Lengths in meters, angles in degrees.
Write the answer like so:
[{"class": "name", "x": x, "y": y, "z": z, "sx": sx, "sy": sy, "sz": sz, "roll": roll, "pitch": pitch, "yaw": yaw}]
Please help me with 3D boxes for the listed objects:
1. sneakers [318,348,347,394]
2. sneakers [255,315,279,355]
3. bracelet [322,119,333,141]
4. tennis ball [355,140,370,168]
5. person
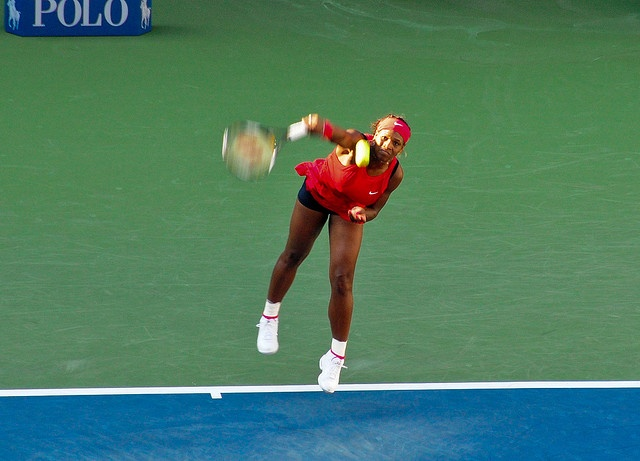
[{"class": "sneakers", "x": 0.124, "y": 1.182, "z": 8.165, "sx": 0.183, "sy": 0.213, "sz": 0.405, "roll": 34, "pitch": 27, "yaw": -29}, {"class": "sneakers", "x": -0.459, "y": 0.915, "z": 8.499, "sx": 0.183, "sy": 0.155, "sz": 0.381, "roll": 2, "pitch": 37, "yaw": -10}, {"class": "bracelet", "x": 0.054, "y": -0.788, "z": 7.713, "sx": 0.163, "sy": 0.135, "sz": 0.119, "roll": -1, "pitch": 60, "yaw": 2}, {"class": "tennis ball", "x": 0.331, "y": -0.606, "z": 7.759, "sx": 0.135, "sy": 0.236, "sz": 0.212, "roll": 11, "pitch": 18, "yaw": 1}, {"class": "person", "x": 0.027, "y": 0.181, "z": 8.147, "sx": 0.932, "sy": 2.401, "sz": 0.810, "roll": 17, "pitch": 22, "yaw": 14}]
